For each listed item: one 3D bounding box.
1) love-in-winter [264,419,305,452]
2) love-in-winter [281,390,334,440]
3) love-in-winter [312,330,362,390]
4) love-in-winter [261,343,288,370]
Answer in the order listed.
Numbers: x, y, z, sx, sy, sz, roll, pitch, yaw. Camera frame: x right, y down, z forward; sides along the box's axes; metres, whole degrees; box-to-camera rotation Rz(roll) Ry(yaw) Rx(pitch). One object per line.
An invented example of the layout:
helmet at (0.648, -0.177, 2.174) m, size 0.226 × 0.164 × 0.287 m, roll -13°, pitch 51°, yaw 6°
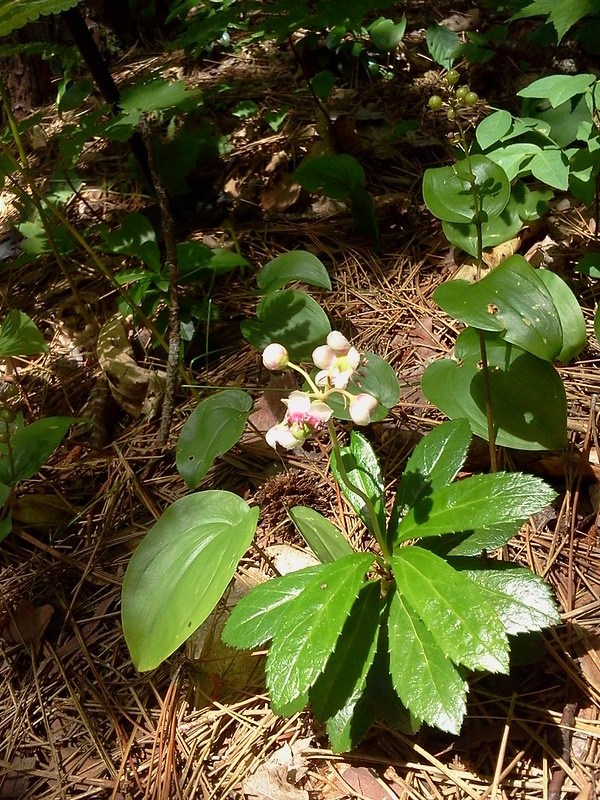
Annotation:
love-in-winter at (-0.038, 0.117, 1.792) m, size 0.114 × 0.112 × 0.063 m, roll 5°, pitch -14°, yaw 13°
love-in-winter at (0.015, 0.038, 1.778) m, size 0.097 × 0.118 × 0.123 m, roll -23°, pitch 9°, yaw 9°
love-in-winter at (0.101, -0.115, 1.819) m, size 0.158 × 0.153 × 0.062 m, roll 6°, pitch 25°, yaw 6°
love-in-winter at (-0.060, -0.111, 1.839) m, size 0.068 × 0.075 × 0.072 m, roll 9°, pitch 1°, yaw 15°
